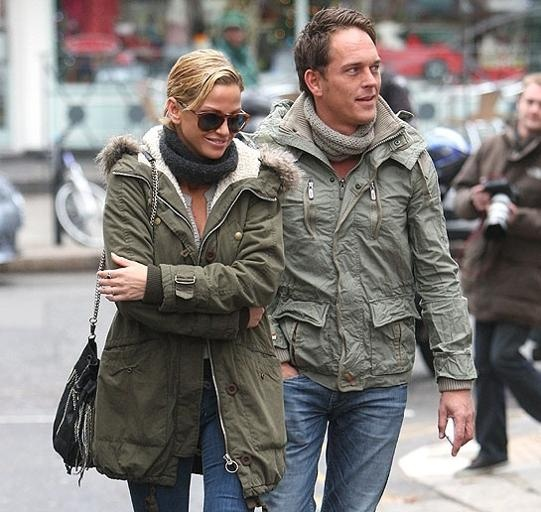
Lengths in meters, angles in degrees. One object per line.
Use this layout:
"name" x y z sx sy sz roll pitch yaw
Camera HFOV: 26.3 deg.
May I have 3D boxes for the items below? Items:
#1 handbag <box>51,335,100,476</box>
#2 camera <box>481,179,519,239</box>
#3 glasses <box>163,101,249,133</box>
"handbag" -0.684 0.526 4.089 0.156 0.457 0.141 0 8 7
"camera" 1.177 -0.248 6.001 0.097 0.236 0.263 -30 18 36
"glasses" -0.217 -0.473 4.013 0.285 0.115 0.181 -2 9 -9
